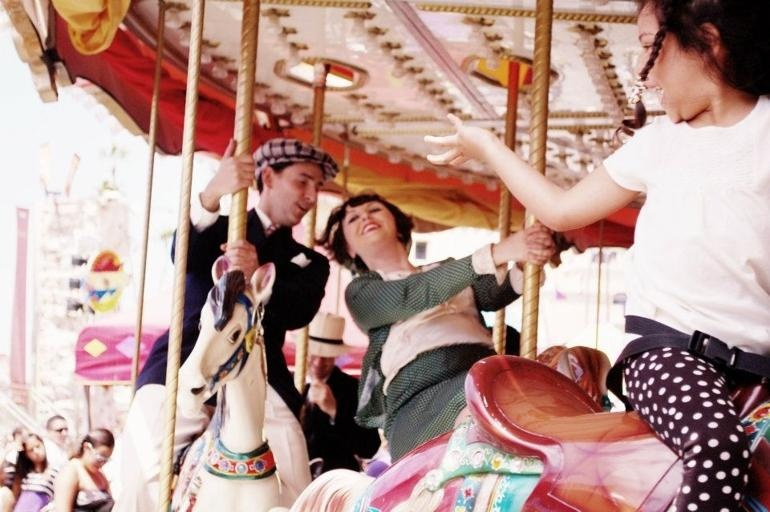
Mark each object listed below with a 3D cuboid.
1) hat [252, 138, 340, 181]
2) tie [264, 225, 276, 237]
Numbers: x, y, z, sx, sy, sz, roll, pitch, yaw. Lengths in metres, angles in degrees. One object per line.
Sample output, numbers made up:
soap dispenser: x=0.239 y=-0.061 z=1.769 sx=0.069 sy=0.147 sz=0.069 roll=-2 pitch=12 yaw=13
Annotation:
hat: x=-0.637 y=-0.697 z=5.611 sx=0.412 sy=0.164 sz=0.357 roll=-3 pitch=-8 yaw=-7
tie: x=-0.821 y=-0.178 z=5.612 sx=0.070 sy=0.071 sz=0.022 roll=26 pitch=1 yaw=3
